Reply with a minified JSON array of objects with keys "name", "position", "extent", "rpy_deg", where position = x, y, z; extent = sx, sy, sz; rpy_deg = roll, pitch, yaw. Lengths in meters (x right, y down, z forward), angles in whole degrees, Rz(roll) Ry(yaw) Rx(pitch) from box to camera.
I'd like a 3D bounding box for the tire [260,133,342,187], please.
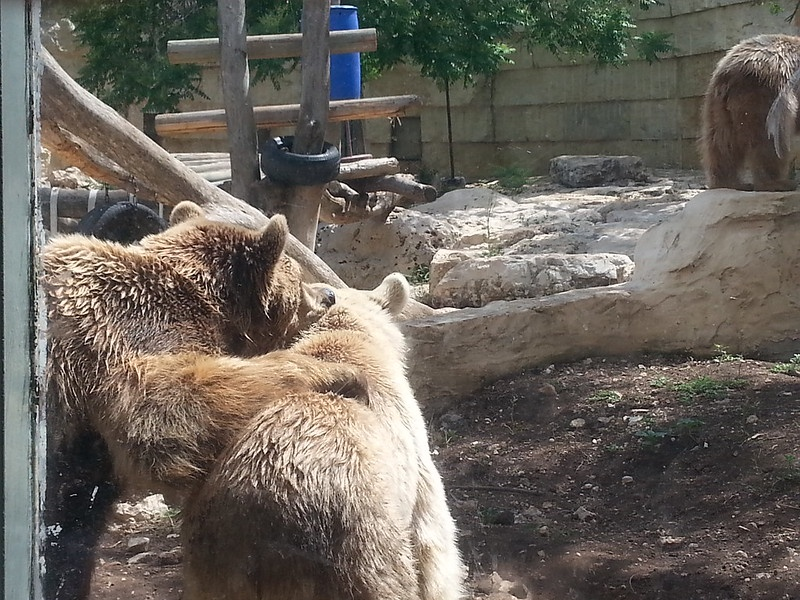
[{"name":"tire","position":[-0.979,-1.343,12.704],"extent":[0.662,0.261,0.667],"rpy_deg":[1,19,-5]}]
